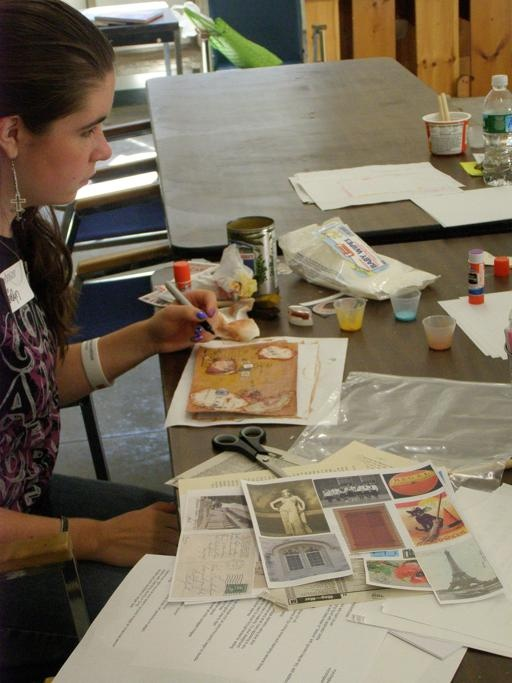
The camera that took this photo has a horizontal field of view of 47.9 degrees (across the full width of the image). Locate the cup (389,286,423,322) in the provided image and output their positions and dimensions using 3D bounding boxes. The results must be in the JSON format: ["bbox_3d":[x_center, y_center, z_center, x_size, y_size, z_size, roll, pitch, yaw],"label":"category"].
[{"bbox_3d":[0.272,-0.067,1.071,0.068,0.054,0.069,-3,20,1],"label":"cup"}]

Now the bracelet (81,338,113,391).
[{"bbox_3d":[-0.321,0.046,1.146,0.036,0.090,0.071,-14,-14,11],"label":"bracelet"}]

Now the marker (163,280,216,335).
[{"bbox_3d":[-0.118,-0.059,1.053,0.019,0.017,0.163,-10,39,-23],"label":"marker"}]

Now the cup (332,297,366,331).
[{"bbox_3d":[0.165,-0.049,1.033,0.057,0.047,0.060,-4,20,1],"label":"cup"}]

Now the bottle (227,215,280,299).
[{"bbox_3d":[0.003,-0.163,1.148,0.121,0.158,0.095,-8,31,-19],"label":"bottle"}]

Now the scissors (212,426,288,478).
[{"bbox_3d":[0.007,0.139,0.732,0.065,0.015,0.130,-22,25,-39],"label":"scissors"}]

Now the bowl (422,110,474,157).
[{"bbox_3d":[0.599,-0.644,1.797,0.152,0.105,0.150,-6,30,3],"label":"bowl"}]

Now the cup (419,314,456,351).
[{"bbox_3d":[0.295,-0.014,0.949,0.058,0.044,0.058,-4,26,2],"label":"cup"}]
